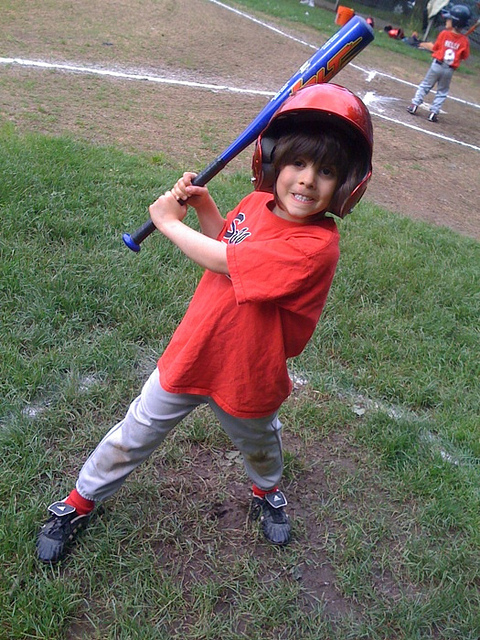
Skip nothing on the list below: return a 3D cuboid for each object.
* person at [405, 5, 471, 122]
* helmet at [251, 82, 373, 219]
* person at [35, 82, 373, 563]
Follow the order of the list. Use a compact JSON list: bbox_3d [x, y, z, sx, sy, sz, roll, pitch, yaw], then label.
[{"bbox_3d":[3.426,-4.333,9.328,0.622,1.835,0.719,22,31,24],"label":"person"},{"bbox_3d":[0.199,-0.461,1.510,0.333,0.351,0.246,13,27,9],"label":"helmet"},{"bbox_3d":[-0.115,0.053,1.657,0.787,1.470,0.473,4,28,-9],"label":"person"}]
